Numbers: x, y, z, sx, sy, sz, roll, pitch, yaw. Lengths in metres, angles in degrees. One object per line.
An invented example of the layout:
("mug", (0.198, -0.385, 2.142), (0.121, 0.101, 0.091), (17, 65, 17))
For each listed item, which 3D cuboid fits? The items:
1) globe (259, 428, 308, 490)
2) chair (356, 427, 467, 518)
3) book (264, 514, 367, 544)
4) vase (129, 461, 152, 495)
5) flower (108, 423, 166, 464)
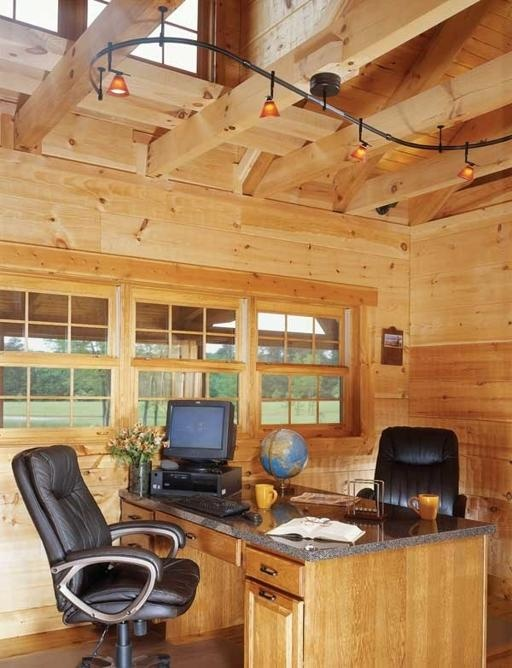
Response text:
("globe", (0.171, 0.755, 3.517), (0.314, 0.323, 0.287), (-4, 16, 8))
("chair", (1.080, 0.874, 3.704), (0.560, 0.645, 0.604), (-3, -19, 23))
("book", (0.239, 0.753, 2.213), (0.357, 0.039, 0.260), (-2, -3, 25))
("vase", (-0.676, 0.847, 3.367), (0.176, 0.183, 0.186), (1, -6, -3))
("flower", (-0.726, 0.662, 3.494), (0.300, 0.157, 0.273), (-1, -3, 27))
